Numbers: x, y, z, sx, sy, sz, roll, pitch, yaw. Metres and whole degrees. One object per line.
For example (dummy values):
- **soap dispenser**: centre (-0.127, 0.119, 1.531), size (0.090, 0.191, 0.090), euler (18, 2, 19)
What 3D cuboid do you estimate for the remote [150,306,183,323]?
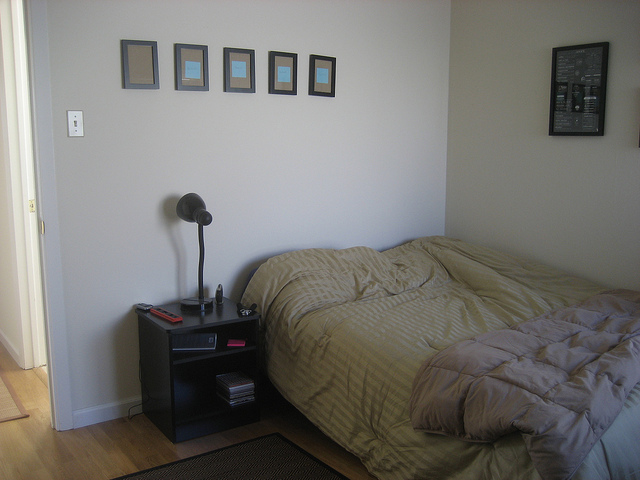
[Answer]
- **remote**: centre (-0.868, 0.416, 2.823), size (0.079, 0.031, 0.274), euler (-8, 14, -33)

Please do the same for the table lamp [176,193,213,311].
- **table lamp**: centre (-0.743, 0.068, 2.978), size (0.204, 0.672, 0.332), euler (-4, 13, -14)

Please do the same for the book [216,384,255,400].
- **book**: centre (-0.486, 0.876, 2.872), size (0.096, 0.024, 0.097), euler (-4, 15, -37)

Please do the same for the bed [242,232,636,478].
- **bed**: centre (0.635, 0.570, 2.472), size (1.438, 0.517, 1.489), euler (-8, 15, -32)
